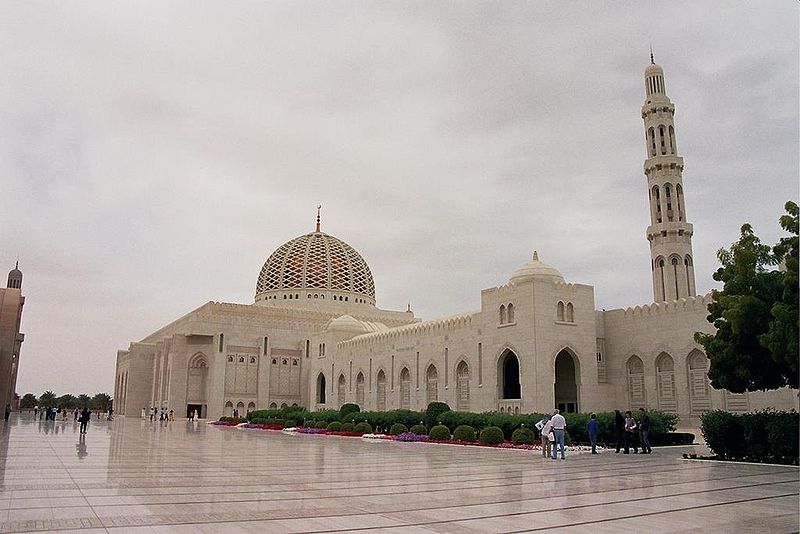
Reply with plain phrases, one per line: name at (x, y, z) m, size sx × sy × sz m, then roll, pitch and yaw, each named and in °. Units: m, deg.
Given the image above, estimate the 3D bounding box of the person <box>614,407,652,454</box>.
person at (7.117, 5.013, 21.782) m, size 1.028 × 1.362 × 1.448 m, roll -6°, pitch -17°, yaw 14°

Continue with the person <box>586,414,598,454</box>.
person at (5.722, 4.881, 20.921) m, size 0.254 × 1.181 × 0.911 m, roll -6°, pitch -18°, yaw 14°
